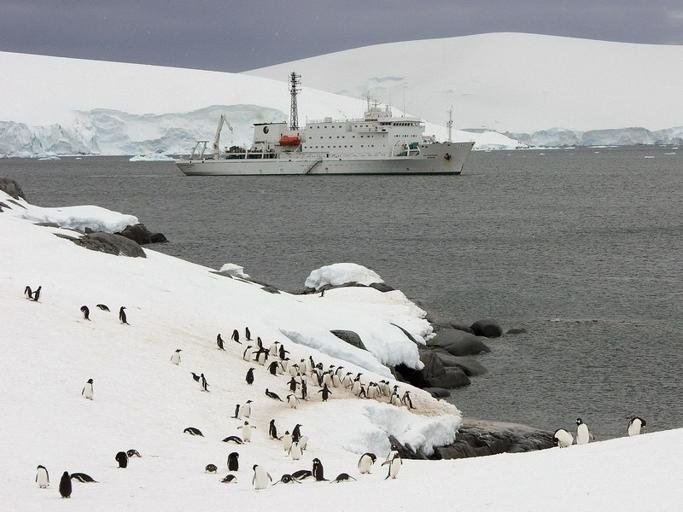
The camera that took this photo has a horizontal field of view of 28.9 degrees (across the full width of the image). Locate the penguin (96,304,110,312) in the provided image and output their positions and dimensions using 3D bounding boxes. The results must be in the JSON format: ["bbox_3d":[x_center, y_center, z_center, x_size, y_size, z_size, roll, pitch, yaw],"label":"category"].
[{"bbox_3d":[-7.871,1.659,43.498,0.482,0.214,0.366,1,9,-11],"label":"penguin"}]

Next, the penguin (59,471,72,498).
[{"bbox_3d":[-7.705,6.227,36.734,0.336,0.733,0.322,1,9,-11],"label":"penguin"}]

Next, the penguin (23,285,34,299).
[{"bbox_3d":[-10.107,1.105,42.534,0.296,0.391,0.585,1,9,-15],"label":"penguin"}]

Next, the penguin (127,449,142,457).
[{"bbox_3d":[-5.986,5.577,38.036,0.410,0.219,0.234,1,9,-14],"label":"penguin"}]

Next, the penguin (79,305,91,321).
[{"bbox_3d":[-8.304,1.756,42.641,0.280,0.408,0.614,1,9,-13],"label":"penguin"}]

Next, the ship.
[{"bbox_3d":[-2.056,-10.528,113.053,16.587,9.811,28.724,-5,12,-43],"label":"ship"}]

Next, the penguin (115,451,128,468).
[{"bbox_3d":[-6.302,5.690,37.629,0.209,0.499,0.250,11,14,33],"label":"penguin"}]

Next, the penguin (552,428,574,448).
[{"bbox_3d":[6.756,5.475,40.029,0.477,0.576,1.112,4,9,3],"label":"penguin"}]

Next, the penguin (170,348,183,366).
[{"bbox_3d":[-5.315,3.104,42.179,0.352,0.461,0.768,2,9,-7],"label":"penguin"}]

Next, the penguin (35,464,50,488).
[{"bbox_3d":[-8.393,6.071,36.871,0.378,0.450,0.603,-7,22,-20],"label":"penguin"}]

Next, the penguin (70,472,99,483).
[{"bbox_3d":[-7.317,6.143,37.168,0.543,0.154,0.313,5,-5,6],"label":"penguin"}]

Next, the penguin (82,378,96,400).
[{"bbox_3d":[-7.582,3.919,39.421,0.377,0.591,0.425,11,26,6],"label":"penguin"}]
